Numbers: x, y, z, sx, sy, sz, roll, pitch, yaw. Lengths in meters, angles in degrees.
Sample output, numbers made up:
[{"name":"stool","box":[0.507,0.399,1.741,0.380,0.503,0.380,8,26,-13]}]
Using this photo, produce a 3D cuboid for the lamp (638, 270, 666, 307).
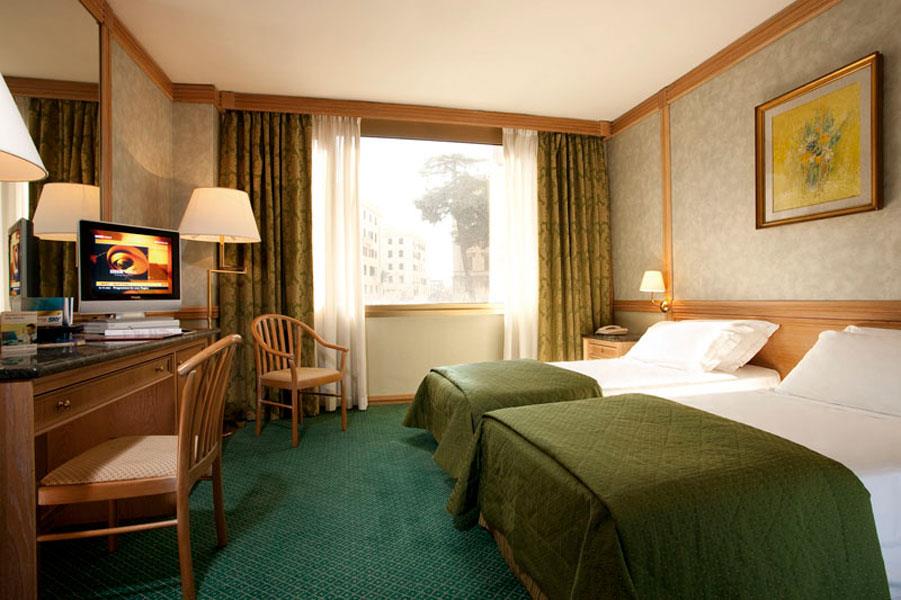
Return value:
[{"name":"lamp","box":[2.092,-0.132,6.255,0.240,0.354,0.423,4,13,16]}]

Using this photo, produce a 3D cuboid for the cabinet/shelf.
[{"name":"cabinet/shelf","box":[-1.999,0.489,3.726,0.084,0.218,1.207,3,13,14]}]

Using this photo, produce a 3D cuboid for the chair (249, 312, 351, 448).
[{"name":"chair","box":[-1.443,0.705,5.798,0.792,1.125,0.868,3,3,42]}]

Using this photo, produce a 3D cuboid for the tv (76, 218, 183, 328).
[{"name":"tv","box":[-2.398,-0.203,4.537,0.111,0.674,0.738,2,2,33]}]

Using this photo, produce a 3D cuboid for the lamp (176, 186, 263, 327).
[{"name":"lamp","box":[-2.119,-0.369,5.681,0.667,1.349,0.697,-4,13,-21]}]

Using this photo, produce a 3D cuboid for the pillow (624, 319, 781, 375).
[{"name":"pillow","box":[2.113,0.388,5.252,0.591,0.189,0.620,-22,5,-24]}]
